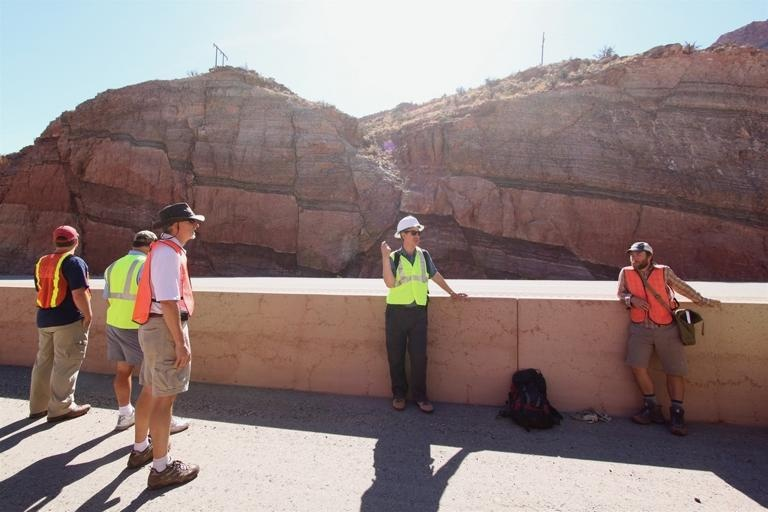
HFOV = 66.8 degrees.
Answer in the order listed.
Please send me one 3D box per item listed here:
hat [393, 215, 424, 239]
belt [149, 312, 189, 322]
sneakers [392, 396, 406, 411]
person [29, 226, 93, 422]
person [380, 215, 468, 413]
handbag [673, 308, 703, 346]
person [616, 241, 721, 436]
[{"bbox_3d":[0.343,-0.534,10.569,0.598,0.311,0.435,-9,0,43],"label":"hat"},{"bbox_3d":[-3.292,0.951,9.098,0.331,0.116,0.237,-3,6,-28],"label":"belt"},{"bbox_3d":[0.267,2.615,10.385,0.259,0.237,0.199,-2,1,-7],"label":"sneakers"},{"bbox_3d":[-5.674,1.183,10.229,1.099,3.758,0.357,-2,0,7],"label":"person"},{"bbox_3d":[0.493,1.045,10.400,0.955,3.317,0.449,-2,0,1],"label":"person"},{"bbox_3d":[5.258,1.253,10.034,0.406,0.573,0.370,-7,20,14],"label":"handbag"},{"bbox_3d":[4.739,1.395,10.162,1.247,2.791,0.599,-2,0,19],"label":"person"}]
